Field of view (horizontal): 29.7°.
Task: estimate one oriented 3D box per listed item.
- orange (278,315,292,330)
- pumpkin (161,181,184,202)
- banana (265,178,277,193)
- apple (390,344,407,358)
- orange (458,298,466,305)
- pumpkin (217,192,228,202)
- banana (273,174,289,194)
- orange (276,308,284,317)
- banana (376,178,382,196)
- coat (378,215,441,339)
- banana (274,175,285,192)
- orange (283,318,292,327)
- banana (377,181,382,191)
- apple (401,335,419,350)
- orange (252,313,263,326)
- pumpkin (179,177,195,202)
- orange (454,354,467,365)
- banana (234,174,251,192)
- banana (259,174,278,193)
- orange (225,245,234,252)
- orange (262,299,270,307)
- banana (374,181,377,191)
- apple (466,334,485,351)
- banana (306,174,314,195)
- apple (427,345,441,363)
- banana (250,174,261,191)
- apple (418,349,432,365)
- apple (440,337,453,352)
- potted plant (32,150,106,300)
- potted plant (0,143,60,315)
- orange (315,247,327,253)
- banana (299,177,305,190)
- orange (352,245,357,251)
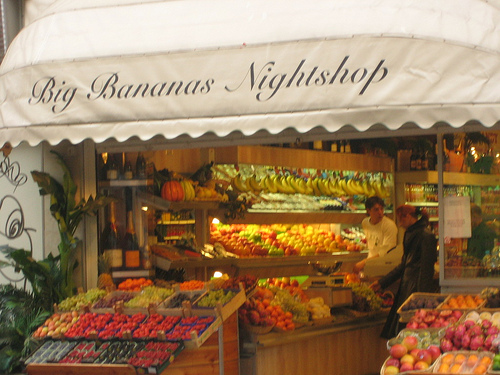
[{"bbox_3d":[0.416,1.647,11.417,0.200,0.166,0.067,2,-6,-40],"label":"orange"},{"bbox_3d":[-1.000,0.057,12.149,0.226,0.284,0.226,-5,5,-32],"label":"pumpkin"},{"bbox_3d":[0.302,-0.026,13.452,0.045,0.208,0.217,-6,-7,43],"label":"banana"},{"bbox_3d":[1.519,1.681,9.628,0.116,0.141,0.108,-13,24,-42],"label":"apple"},{"bbox_3d":[2.399,1.295,10.693,0.057,0.069,0.080,0,40,29],"label":"orange"},{"bbox_3d":[-0.357,0.141,12.704,0.134,0.171,0.084,-5,-3,35],"label":"pumpkin"},{"bbox_3d":[0.435,-0.042,13.548,0.187,0.234,0.064,11,-3,-32],"label":"banana"},{"bbox_3d":[0.360,1.520,11.489,0.071,0.087,0.074,-37,-17,-18],"label":"orange"},{"bbox_3d":[2.075,-0.009,15.188,0.068,0.294,0.203,-4,-6,29],"label":"banana"},{"bbox_3d":[2.049,1.148,12.030,0.731,1.540,0.557,-5,-6,31],"label":"coat"},{"bbox_3d":[0.422,-0.067,13.506,0.043,0.183,0.149,-12,-52,46],"label":"banana"},{"bbox_3d":[0.474,1.651,11.473,0.128,0.099,0.050,1,-6,-35],"label":"orange"},{"bbox_3d":[2.086,-0.029,15.196,0.031,0.153,0.141,-4,-5,22],"label":"banana"},{"bbox_3d":[1.656,1.606,9.726,0.104,0.139,0.122,0,1,-2],"label":"apple"},{"bbox_3d":[0.083,1.581,11.244,0.081,0.137,0.036,-5,2,14],"label":"orange"},{"bbox_3d":[-0.816,0.042,12.331,0.199,0.373,0.236,-2,-3,9],"label":"pumpkin"},{"bbox_3d":[2.115,1.736,9.457,0.087,0.085,0.084,15,-33,31],"label":"orange"},{"bbox_3d":[-0.132,-0.060,13.064,0.145,0.214,0.048,-31,12,-36],"label":"banana"},{"bbox_3d":[0.250,-0.053,13.422,0.057,0.202,0.118,-28,-1,-38],"label":"banana"},{"bbox_3d":[-0.285,0.833,12.783,0.108,0.099,0.117,-2,-5,-3],"label":"orange"},{"bbox_3d":[0.193,1.409,11.444,0.090,0.088,0.079,-2,-5,-2],"label":"orange"},{"bbox_3d":[2.019,-0.026,15.135,0.044,0.159,0.112,-3,-5,11],"label":"banana"},{"bbox_3d":[2.340,1.599,9.694,0.190,0.149,0.115,-2,-5,-1],"label":"apple"},{"bbox_3d":[0.900,-0.050,13.994,0.076,0.292,0.069,-2,-8,-2],"label":"banana"},{"bbox_3d":[1.899,1.718,9.654,0.101,0.145,0.118,1,10,12],"label":"apple"},{"bbox_3d":[0.072,-0.055,13.280,0.156,0.293,0.081,-17,3,-30],"label":"banana"},{"bbox_3d":[1.777,1.727,9.558,0.105,0.167,0.120,-1,5,2],"label":"apple"},{"bbox_3d":[2.038,1.639,9.766,0.066,0.134,0.093,27,-52,-38],"label":"apple"},{"bbox_3d":[-2.159,0.443,11.134,0.799,1.761,0.555,-1,-5,-13],"label":"potted plant"},{"bbox_3d":[-2.648,0.721,11.252,0.628,2.478,0.481,-15,-16,19],"label":"potted plant"},{"bbox_3d":[1.026,0.903,13.523,0.061,0.088,0.215,-6,-6,37],"label":"orange"},{"bbox_3d":[0.767,-0.054,13.827,0.048,0.166,0.039,9,-23,-31],"label":"banana"},{"bbox_3d":[1.561,0.901,14.053,0.038,0.089,0.073,3,5,39],"label":"orange"}]
